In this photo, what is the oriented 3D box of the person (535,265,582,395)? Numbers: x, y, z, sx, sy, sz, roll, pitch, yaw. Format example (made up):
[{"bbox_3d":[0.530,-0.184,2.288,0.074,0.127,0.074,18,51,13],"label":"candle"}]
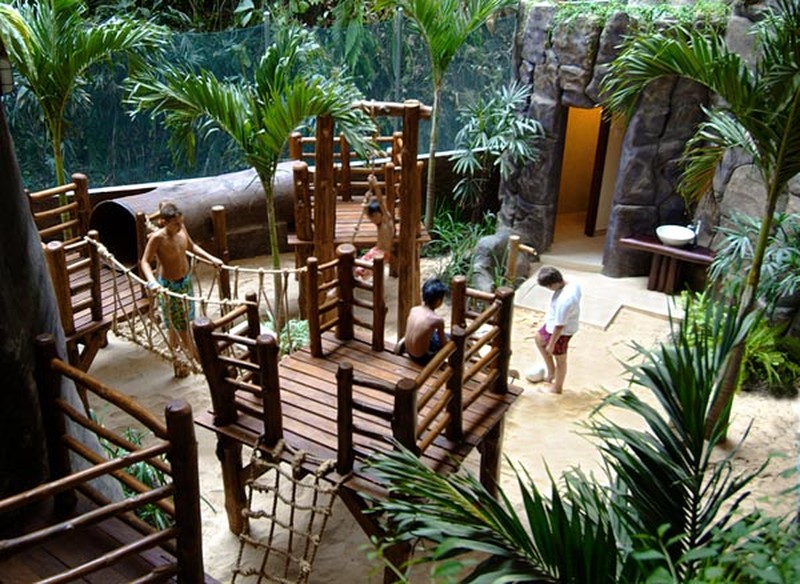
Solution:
[{"bbox_3d":[1.807,0.490,6.911,0.474,1.411,0.622,16,52,18],"label":"person"}]

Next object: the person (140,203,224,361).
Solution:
[{"bbox_3d":[-2.287,-0.070,6.330,0.501,1.709,0.881,15,30,29],"label":"person"}]

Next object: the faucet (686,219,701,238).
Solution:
[{"bbox_3d":[4.132,-0.927,8.484,0.182,0.256,0.241,4,26,25],"label":"faucet"}]

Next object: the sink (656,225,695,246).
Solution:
[{"bbox_3d":[3.855,-0.815,8.463,0.323,0.144,0.332,20,44,25],"label":"sink"}]

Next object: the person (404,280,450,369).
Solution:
[{"bbox_3d":[0.217,0.245,5.267,0.375,0.834,0.397,2,23,3],"label":"person"}]
